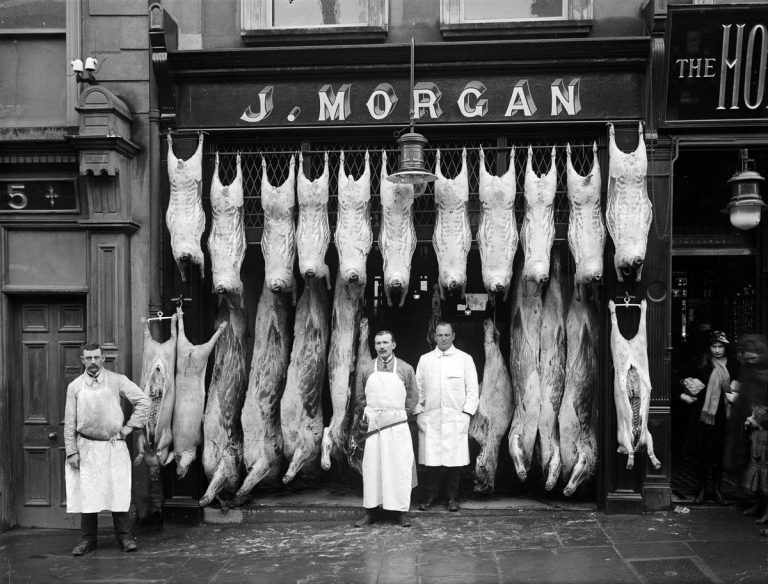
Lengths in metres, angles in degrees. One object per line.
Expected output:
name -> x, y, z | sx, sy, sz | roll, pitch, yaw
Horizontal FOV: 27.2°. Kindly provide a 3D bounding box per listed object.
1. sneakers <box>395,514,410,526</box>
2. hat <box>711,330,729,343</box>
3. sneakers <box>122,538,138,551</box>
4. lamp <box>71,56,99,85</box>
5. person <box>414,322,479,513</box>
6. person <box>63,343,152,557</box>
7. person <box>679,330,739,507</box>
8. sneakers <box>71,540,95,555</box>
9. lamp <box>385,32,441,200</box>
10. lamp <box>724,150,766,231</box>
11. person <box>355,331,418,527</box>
sneakers -> 0.221, 2.695, 18.883 | 0.157, 0.144, 0.122 | -1, 3, 11
hat -> 4.142, 0.525, 19.517 | 0.190, 0.101, 0.200 | 1, -9, 23
sneakers -> -2.989, 2.927, 18.489 | 0.103, 0.094, 0.206 | 3, -15, -22
lamp -> -3.650, -2.648, 19.156 | 0.366, 0.372, 0.324 | -5, 5, -38
person -> 0.782, 1.510, 19.350 | 0.764, 2.274, 0.747 | -1, -1, 3
person -> -3.273, 1.817, 18.530 | 0.937, 2.438, 0.359 | -1, -1, -12
person -> 4.008, 1.522, 19.589 | 0.639, 2.064, 0.701 | -1, -1, 11
sneakers -> -3.532, 2.964, 18.448 | 0.118, 0.125, 0.277 | -3, -11, 15
lamp -> 0.319, -2.122, 18.836 | 0.551, 1.933, 1.061 | -1, -1, 1
lamp -> 4.517, -1.272, 19.666 | 0.513, 0.984, 1.405 | -1, -1, 11
person -> 0.044, 1.519, 18.918 | 0.709, 2.098, 0.345 | -1, -1, -1
